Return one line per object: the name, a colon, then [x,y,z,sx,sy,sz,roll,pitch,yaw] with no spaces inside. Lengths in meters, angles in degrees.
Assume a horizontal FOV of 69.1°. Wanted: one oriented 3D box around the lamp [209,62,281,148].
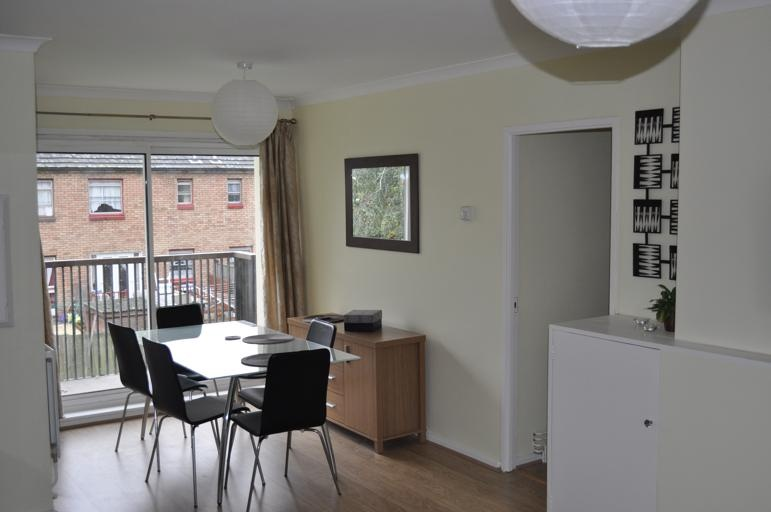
lamp: [-1.026,-1.092,4.063,0.498,0.651,0.496,0,3,-4]
